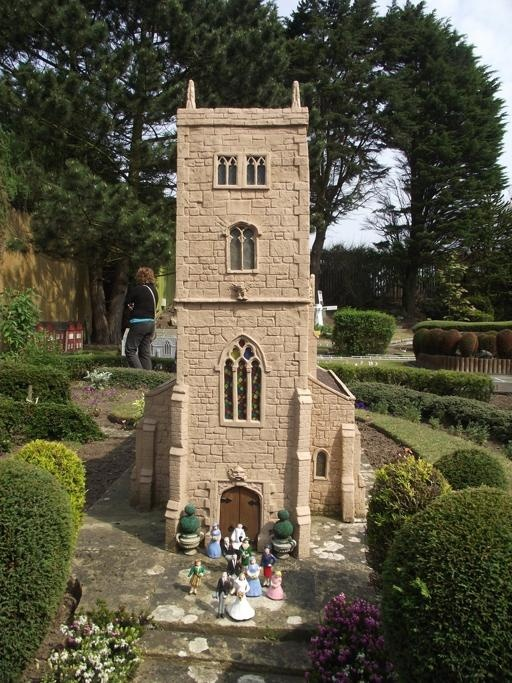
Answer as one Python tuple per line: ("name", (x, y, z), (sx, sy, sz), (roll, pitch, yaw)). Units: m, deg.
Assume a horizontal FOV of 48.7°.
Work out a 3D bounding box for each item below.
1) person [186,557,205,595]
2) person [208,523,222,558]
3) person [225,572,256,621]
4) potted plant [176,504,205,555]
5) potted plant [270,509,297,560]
("person", (-1.015, 3.925, 9.759), (0.294, 0.599, 0.761), (2, 11, -6))
("person", (-0.782, 3.744, 10.836), (0.265, 0.720, 0.478), (2, 11, -6))
("person", (-0.241, 4.069, 9.103), (0.586, 0.806, 0.598), (1, -5, 3))
("potted plant", (-1.273, 3.571, 10.887), (0.430, 1.026, 0.598), (7, 12, 18))
("potted plant", (0.523, 3.647, 10.757), (0.463, 0.990, 0.412), (-2, 12, -22))
